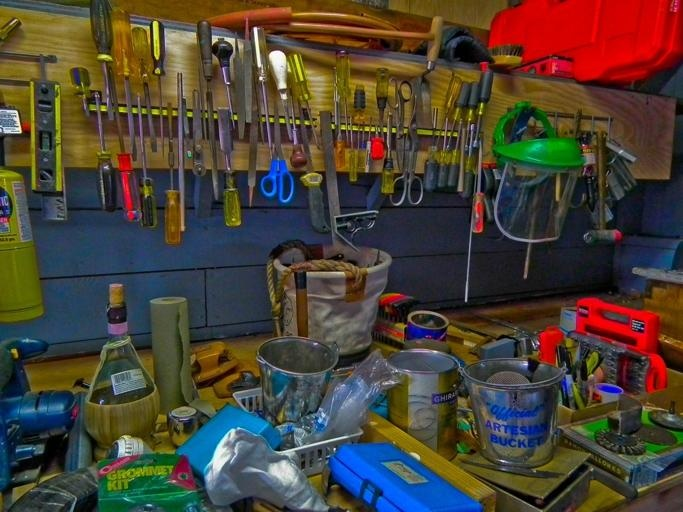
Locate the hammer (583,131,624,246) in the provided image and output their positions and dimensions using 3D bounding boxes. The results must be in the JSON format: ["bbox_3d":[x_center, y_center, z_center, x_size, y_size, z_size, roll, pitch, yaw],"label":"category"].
[{"bbox_3d":[0.837,-0.214,1.592,0.098,0.357,0.243,5,14,26],"label":"hammer"}]

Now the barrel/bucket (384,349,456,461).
[{"bbox_3d":[0.180,0.320,1.159,0.184,0.226,0.145,-8,20,-41],"label":"barrel/bucket"}]

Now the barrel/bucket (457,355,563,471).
[{"bbox_3d":[0.352,0.316,1.058,0.198,0.180,0.160,4,13,21],"label":"barrel/bucket"}]

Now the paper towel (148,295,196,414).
[{"bbox_3d":[-0.401,0.235,1.224,0.109,0.255,0.121,-2,15,-25],"label":"paper towel"}]

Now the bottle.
[{"bbox_3d":[-0.458,0.258,1.093,0.149,0.357,0.182,19,16,-3],"label":"bottle"}]
